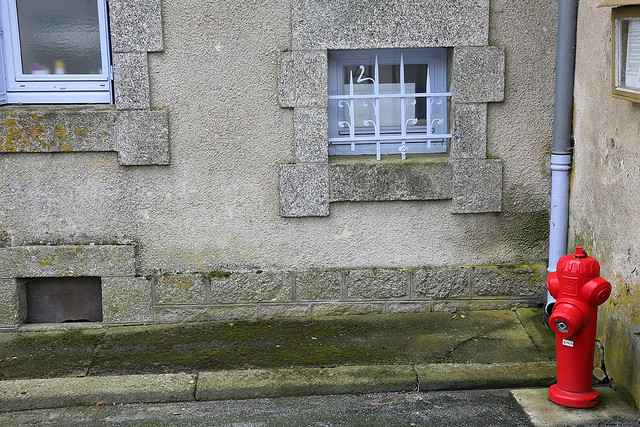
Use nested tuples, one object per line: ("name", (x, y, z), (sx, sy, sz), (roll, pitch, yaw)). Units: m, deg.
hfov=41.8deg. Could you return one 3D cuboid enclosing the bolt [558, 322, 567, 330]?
("bolt", (2.186, 1.011, 7.554), (0.081, 0.074, 0.019), (-7, -9, 22))
